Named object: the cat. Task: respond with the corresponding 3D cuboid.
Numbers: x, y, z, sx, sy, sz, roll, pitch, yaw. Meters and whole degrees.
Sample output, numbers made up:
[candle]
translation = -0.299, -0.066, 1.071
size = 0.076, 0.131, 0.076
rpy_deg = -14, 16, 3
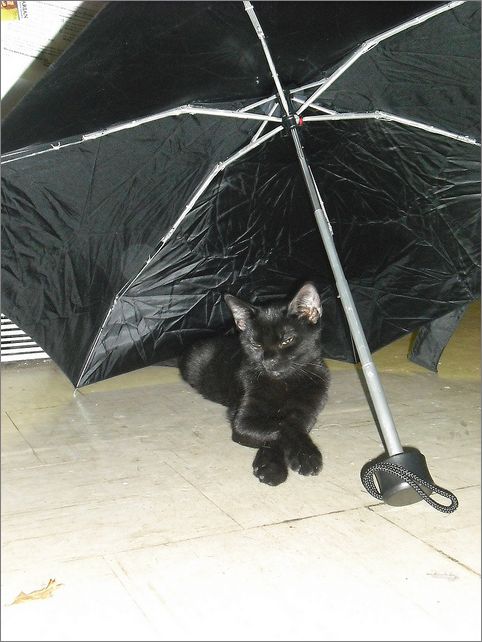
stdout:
[cat]
translation = 0.040, 0.110, 1.990
size = 0.449, 0.482, 1.135
rpy_deg = -6, 12, -14
